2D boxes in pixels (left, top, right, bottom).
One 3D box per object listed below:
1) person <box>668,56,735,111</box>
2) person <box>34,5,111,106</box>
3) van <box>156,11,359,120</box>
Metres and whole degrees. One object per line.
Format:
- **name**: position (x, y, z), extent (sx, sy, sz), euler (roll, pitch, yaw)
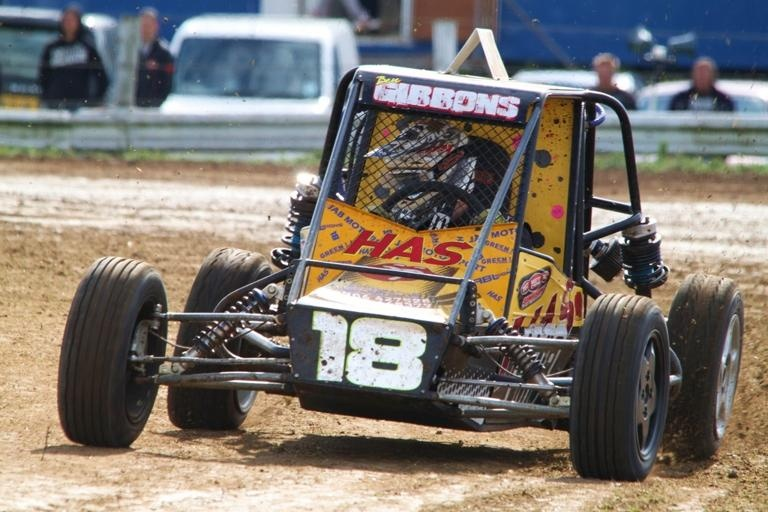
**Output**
- **person**: position (3.771, -2.029, 19.319), extent (0.842, 0.656, 0.392), euler (3, 5, 12)
- **person**: position (-3.536, -2.239, 18.457), extent (0.989, 1.663, 0.395), euler (6, 46, -6)
- **van**: position (-1.475, -2.378, 19.702), extent (1.219, 1.104, 2.101), euler (3, 0, 7)
